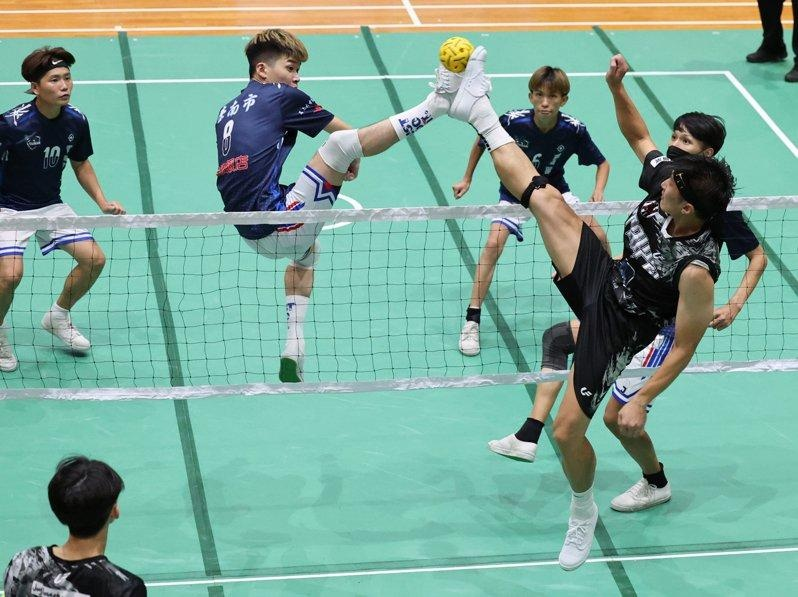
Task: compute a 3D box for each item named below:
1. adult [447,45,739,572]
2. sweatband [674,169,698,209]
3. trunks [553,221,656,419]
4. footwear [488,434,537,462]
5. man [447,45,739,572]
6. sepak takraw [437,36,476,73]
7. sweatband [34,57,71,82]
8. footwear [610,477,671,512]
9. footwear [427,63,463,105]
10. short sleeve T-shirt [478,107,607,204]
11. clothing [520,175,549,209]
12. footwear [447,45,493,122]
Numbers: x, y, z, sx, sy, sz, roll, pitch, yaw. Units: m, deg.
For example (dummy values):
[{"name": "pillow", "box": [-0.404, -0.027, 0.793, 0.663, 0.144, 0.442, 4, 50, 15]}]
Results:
[{"name": "adult", "box": [1.168, 0.278, 4.615, 1.468, 2.676, 0.826, 2, 12, 24]}, {"name": "sweatband", "box": [1.504, -0.570, 4.040, 0.137, 0.227, 0.046, 0, 11, 13]}, {"name": "trunks", "box": [1.160, 0.150, 4.481, 0.290, 0.941, 0.837, -15, 41, -11]}, {"name": "footwear", "box": [0.809, 1.050, 5.471, 0.384, 0.151, 0.154, 14, 5, 37]}, {"name": "man", "box": [1.169, 0.279, 4.614, 1.466, 2.676, 0.826, 2, 12, 24]}, {"name": "sepak takraw", "box": [0.381, -1.613, 5.108, 0.220, 0.192, 0.254, -2, 7, -5]}, {"name": "sweatband", "box": [-2.580, -1.761, 5.933, 0.151, 0.176, 0.319, 1, 10, 19]}, {"name": "footwear", "box": [1.669, 1.368, 5.302, 0.492, 0.173, 0.164, -7, 20, -6]}, {"name": "footwear", "box": [0.332, -1.438, 5.158, 0.168, 0.246, 0.118, 21, 33, 15]}, {"name": "short sleeve T-shirt", "box": [1.347, -1.373, 7.140, 1.164, 0.834, 0.351, 17, 43, 20]}, {"name": "clothing", "box": [0.827, -0.674, 4.767, 0.078, 0.189, 0.179, 37, 1, 4]}, {"name": "footwear", "box": [0.520, -1.402, 5.132, 0.208, 0.529, 0.236, 20, 14, 27]}]
